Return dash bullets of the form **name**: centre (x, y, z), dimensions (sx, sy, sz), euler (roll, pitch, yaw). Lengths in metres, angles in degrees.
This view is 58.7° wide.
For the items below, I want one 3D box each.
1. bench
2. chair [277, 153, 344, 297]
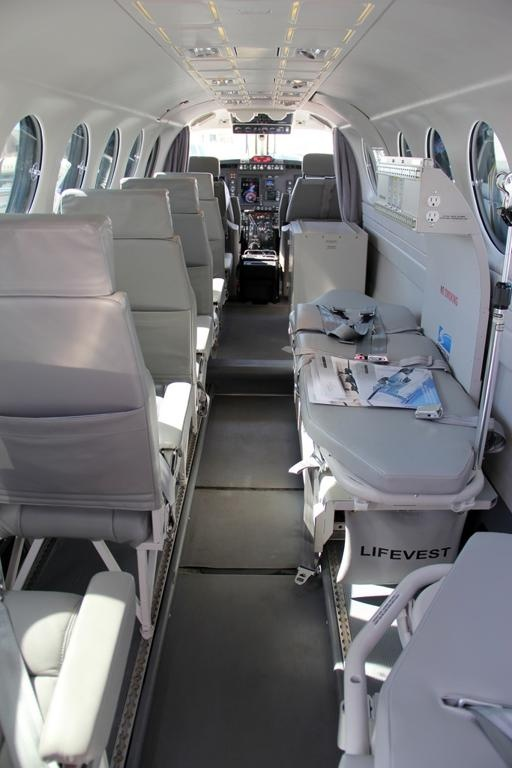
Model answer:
- **bench**: centre (0.649, 0.168, 2.550), dimensions (0.651, 0.727, 1.938), euler (1, 27, 8)
- **chair**: centre (0.733, -2.152, 6.304), dimensions (0.862, 1.823, 0.986), euler (-5, 27, 4)
